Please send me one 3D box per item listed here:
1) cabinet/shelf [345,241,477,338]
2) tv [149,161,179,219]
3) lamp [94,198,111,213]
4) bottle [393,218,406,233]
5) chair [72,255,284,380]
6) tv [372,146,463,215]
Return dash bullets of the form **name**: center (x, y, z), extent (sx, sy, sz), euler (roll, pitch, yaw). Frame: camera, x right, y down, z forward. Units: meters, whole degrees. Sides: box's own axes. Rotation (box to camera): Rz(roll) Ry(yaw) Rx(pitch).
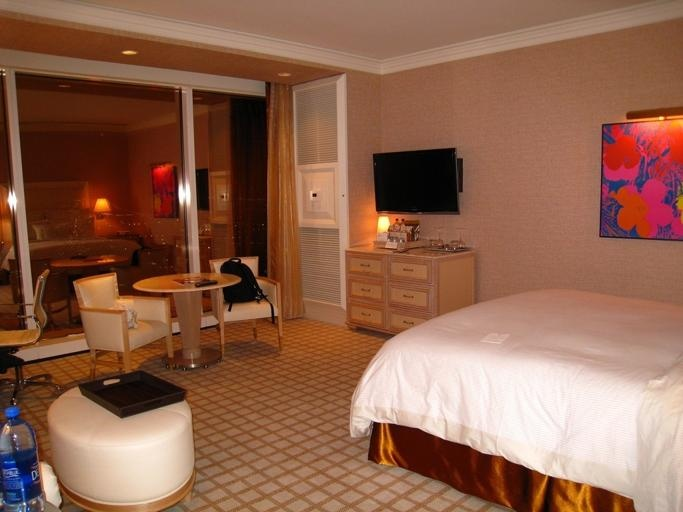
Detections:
- **cabinet/shelf**: center (0.957, 0.414, 6.363), extent (2.139, 1.407, 1.170), euler (3, 6, 44)
- **tv**: center (-2.234, -0.827, 6.082), extent (0.329, 0.697, 0.168), euler (-5, 13, -21)
- **lamp**: center (-2.831, -0.595, 5.666), extent (0.180, 0.143, 0.159), euler (-5, 14, -17)
- **bottle**: center (0.773, -0.398, 6.287), extent (0.201, 0.159, 0.181), euler (2, 11, 7)
- **chair**: center (-1.927, 0.641, 5.565), extent (2.143, 1.089, 1.730), euler (-10, 14, -43)
- **tv**: center (1.018, -0.953, 6.053), extent (1.095, 0.578, 0.149), euler (4, 15, 32)
